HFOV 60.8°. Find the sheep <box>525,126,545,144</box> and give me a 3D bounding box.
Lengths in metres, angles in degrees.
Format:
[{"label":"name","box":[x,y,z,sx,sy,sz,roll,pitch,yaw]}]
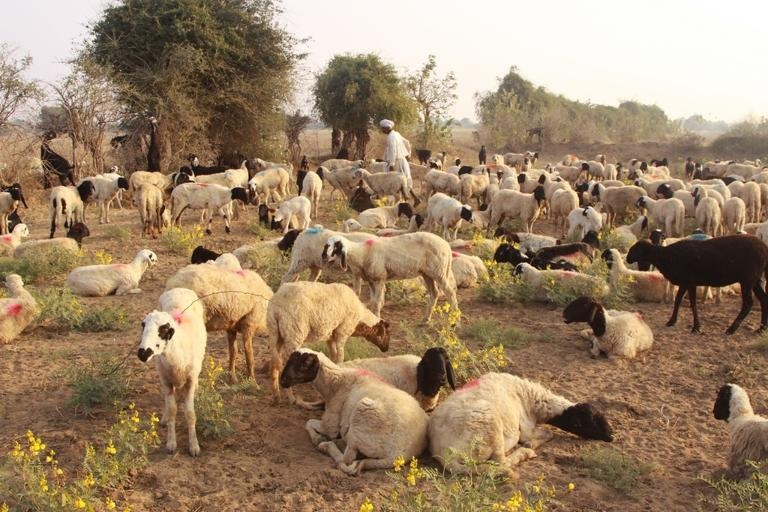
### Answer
[{"label":"sheep","box":[12.016,-9.697,52.059,1.319,1.217,1.156,5,5,10]}]
